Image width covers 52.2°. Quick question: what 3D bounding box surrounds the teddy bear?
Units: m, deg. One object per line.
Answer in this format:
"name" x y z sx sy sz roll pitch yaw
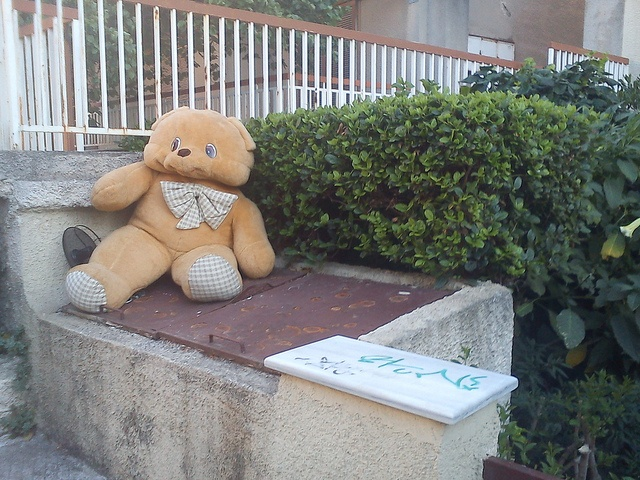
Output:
"teddy bear" -1.004 -0.205 4.533 1.480 1.296 1.310 -8 24 -43
